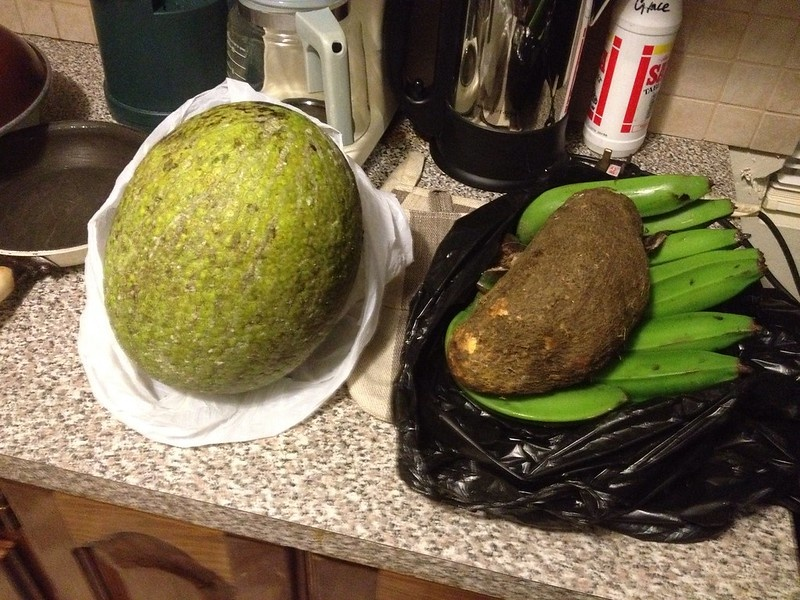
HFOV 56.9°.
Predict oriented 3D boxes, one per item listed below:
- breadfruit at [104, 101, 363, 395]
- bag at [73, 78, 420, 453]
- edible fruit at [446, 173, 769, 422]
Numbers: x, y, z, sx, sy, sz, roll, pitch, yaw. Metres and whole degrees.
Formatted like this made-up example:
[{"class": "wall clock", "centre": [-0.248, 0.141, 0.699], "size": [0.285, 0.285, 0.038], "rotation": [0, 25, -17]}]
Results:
[{"class": "breadfruit", "centre": [-0.167, -0.046, 0.748], "size": [0.260, 0.243, 0.185], "rotation": [-15, 48, -21]}, {"class": "bag", "centre": [-0.128, 0.014, 0.903], "size": [0.362, 0.126, 0.401], "rotation": [26, 74, 17]}, {"class": "edible fruit", "centre": [0.231, 0.027, 0.798], "size": [0.319, 0.103, 0.235], "rotation": [-19, 58, -3]}]
